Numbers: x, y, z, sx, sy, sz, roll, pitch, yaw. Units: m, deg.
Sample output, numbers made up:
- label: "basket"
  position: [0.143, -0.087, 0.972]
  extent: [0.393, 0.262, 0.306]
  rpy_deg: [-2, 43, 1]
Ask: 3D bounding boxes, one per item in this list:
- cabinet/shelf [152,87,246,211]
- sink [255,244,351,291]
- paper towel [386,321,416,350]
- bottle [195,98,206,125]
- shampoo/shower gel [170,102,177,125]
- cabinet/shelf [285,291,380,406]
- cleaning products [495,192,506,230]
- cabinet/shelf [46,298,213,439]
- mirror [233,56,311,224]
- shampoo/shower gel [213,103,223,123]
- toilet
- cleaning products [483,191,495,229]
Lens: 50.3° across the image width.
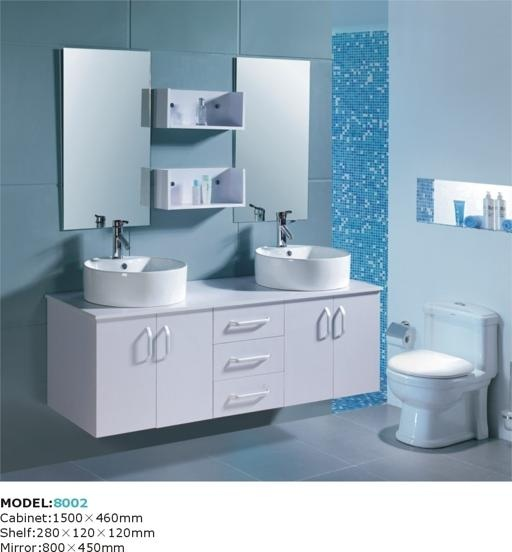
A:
- label: "cabinet/shelf"
  position: [-0.289, -0.612, 2.623]
  extent: [0.518, 0.719, 0.188]
  rpy_deg: [-4, 7, -31]
- label: "sink"
  position: [0.245, -0.040, 2.775]
  extent: [0.466, 0.196, 0.441]
  rpy_deg: [-3, 8, -37]
- label: "paper towel"
  position: [0.864, 0.318, 3.160]
  extent: [0.143, 0.224, 0.159]
  rpy_deg: [4, 7, 40]
- label: "bottle"
  position: [-0.259, -0.793, 2.628]
  extent: [0.021, 0.128, 0.062]
  rpy_deg: [5, 6, 33]
- label: "shampoo/shower gel"
  position: [-0.380, -0.748, 2.511]
  extent: [0.024, 0.102, 0.077]
  rpy_deg: [2, 6, 6]
- label: "cabinet/shelf"
  position: [0.344, 0.324, 2.752]
  extent: [0.554, 0.555, 0.227]
  rpy_deg: [-7, 20, -13]
- label: "cleaning products"
  position: [1.230, -0.321, 2.742]
  extent: [0.051, 0.180, 0.032]
  rpy_deg: [4, 6, 32]
- label: "cabinet/shelf"
  position: [-0.496, 0.292, 2.338]
  extent: [0.491, 0.482, 0.454]
  rpy_deg: [-7, 23, -27]
- label: "mirror"
  position: [0.085, -0.778, 2.929]
  extent: [0.435, 0.921, 0.039]
  rpy_deg: [0, -11, 0]
- label: "shampoo/shower gel"
  position: [-0.185, -0.798, 2.684]
  extent: [0.024, 0.079, 0.051]
  rpy_deg: [-8, 10, -18]
- label: "toilet"
  position: [0.956, 0.509, 2.876]
  extent: [0.492, 0.708, 0.423]
  rpy_deg: [-2, 6, -24]
- label: "cleaning products"
  position: [1.192, -0.331, 2.789]
  extent: [0.028, 0.185, 0.076]
  rpy_deg: [-2, 6, -31]
